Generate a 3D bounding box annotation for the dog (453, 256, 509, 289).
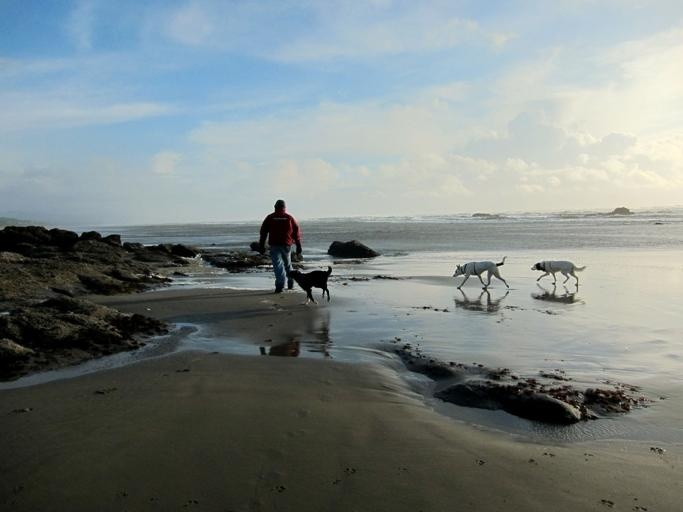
[{"bbox_3d":[4.619,0.532,19.808,1.393,0.898,3.023,3,7,12],"label":"dog"}]
